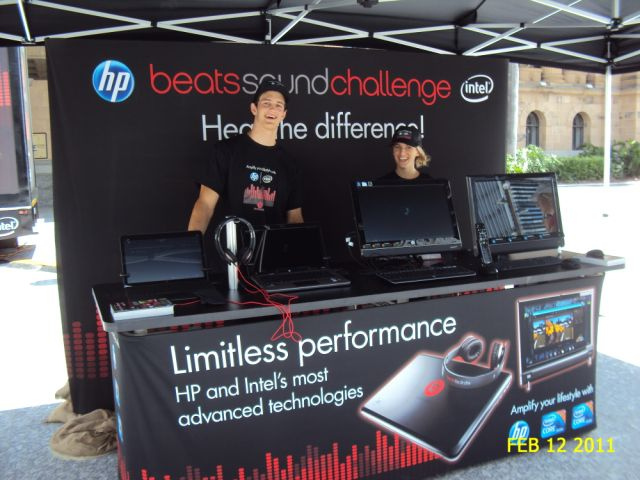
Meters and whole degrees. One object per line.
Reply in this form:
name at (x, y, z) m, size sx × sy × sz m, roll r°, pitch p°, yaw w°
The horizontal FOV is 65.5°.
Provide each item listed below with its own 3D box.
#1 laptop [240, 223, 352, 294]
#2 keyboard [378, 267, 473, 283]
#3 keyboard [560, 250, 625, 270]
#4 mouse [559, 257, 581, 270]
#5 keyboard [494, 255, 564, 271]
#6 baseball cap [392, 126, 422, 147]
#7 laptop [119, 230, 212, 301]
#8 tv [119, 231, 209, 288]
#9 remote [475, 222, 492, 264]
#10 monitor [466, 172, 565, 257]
laptop at (-0.138, 0.133, 3.149) m, size 0.563 × 0.326 × 0.473 m, roll -4°, pitch 10°, yaw -24°
keyboard at (0.672, 0.212, 3.145) m, size 0.560 × 0.012 × 0.195 m, roll -4°, pitch 14°, yaw -13°
keyboard at (1.880, 0.124, 3.502) m, size 0.179 × 0.063 × 0.321 m, roll -2°, pitch 10°, yaw -29°
mouse at (1.701, 0.160, 3.390) m, size 0.092 × 0.025 × 0.110 m, roll 8°, pitch 20°, yaw 29°
keyboard at (1.426, 0.147, 3.386) m, size 0.548 × 0.053 × 0.115 m, roll -6°, pitch 15°, yaw -21°
baseball cap at (0.747, -0.846, 4.136) m, size 0.179 × 0.136 × 0.306 m, roll 12°, pitch 19°, yaw 43°
laptop at (-0.979, 0.140, 3.109) m, size 0.550 × 0.345 × 0.408 m, roll -3°, pitch 9°, yaw -18°
tv at (-0.975, 0.118, 3.119) m, size 0.554 × 0.333 × 0.340 m, roll -3°, pitch -5°, yaw -17°
remote at (1.093, 0.024, 3.338) m, size 0.099 × 0.268 × 0.099 m, roll -4°, pitch 10°, yaw 37°
monitor at (1.377, -0.211, 3.499) m, size 0.721 × 0.509 × 0.053 m, roll -4°, pitch -8°, yaw -17°
